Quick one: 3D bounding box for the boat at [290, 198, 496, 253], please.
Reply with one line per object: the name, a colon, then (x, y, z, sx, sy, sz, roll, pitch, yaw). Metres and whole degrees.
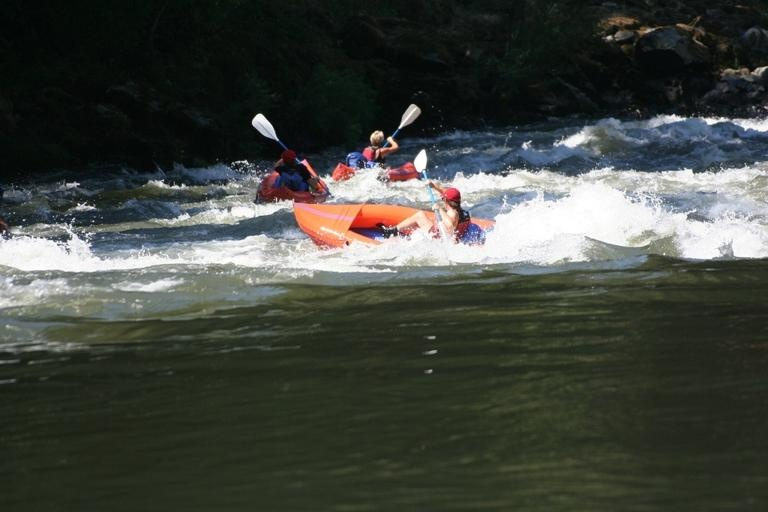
boat: (-0.697, -0.668, 24.804, 3.305, 0.493, 1.325, 4, 25, 5)

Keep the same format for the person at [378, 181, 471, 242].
person: (0.812, -0.832, 24.508, 1.758, 0.753, 1.014, 1, 31, 3)

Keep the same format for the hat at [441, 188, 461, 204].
hat: (1.307, -1.176, 24.291, 0.328, 0.306, 0.268, -7, 17, 3)

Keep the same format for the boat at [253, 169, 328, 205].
boat: (-2.004, -1.525, 28.965, 1.674, 0.508, 1.927, 0, 15, 7)
